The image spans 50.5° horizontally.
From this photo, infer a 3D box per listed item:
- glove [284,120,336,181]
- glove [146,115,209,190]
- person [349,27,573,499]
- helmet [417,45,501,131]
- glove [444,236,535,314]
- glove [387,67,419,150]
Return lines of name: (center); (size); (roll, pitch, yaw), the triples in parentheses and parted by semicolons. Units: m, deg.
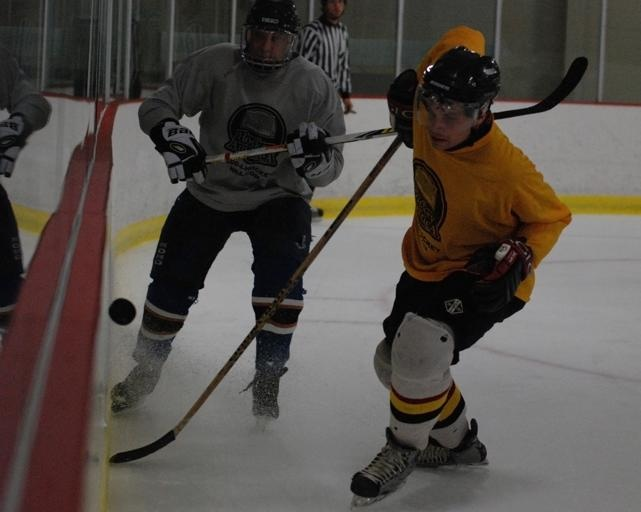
glove: (-0.023, -0.378, 2.365); (0.112, 0.144, 0.146); (-40, 26, -20)
glove: (-0.470, -0.357, 2.289); (0.148, 0.249, 0.060); (-24, 0, -18)
person: (0.357, -0.001, 2.060); (0.620, 1.301, 0.598); (-2, 13, -15)
helmet: (0.411, -0.462, 1.962); (0.208, 0.260, 0.243); (20, 22, 39)
glove: (0.494, 0.030, 1.900); (0.185, 0.136, 0.248); (-8, 15, -36)
glove: (0.288, -0.509, 2.336); (0.146, 0.198, 0.230); (2, 57, 9)
